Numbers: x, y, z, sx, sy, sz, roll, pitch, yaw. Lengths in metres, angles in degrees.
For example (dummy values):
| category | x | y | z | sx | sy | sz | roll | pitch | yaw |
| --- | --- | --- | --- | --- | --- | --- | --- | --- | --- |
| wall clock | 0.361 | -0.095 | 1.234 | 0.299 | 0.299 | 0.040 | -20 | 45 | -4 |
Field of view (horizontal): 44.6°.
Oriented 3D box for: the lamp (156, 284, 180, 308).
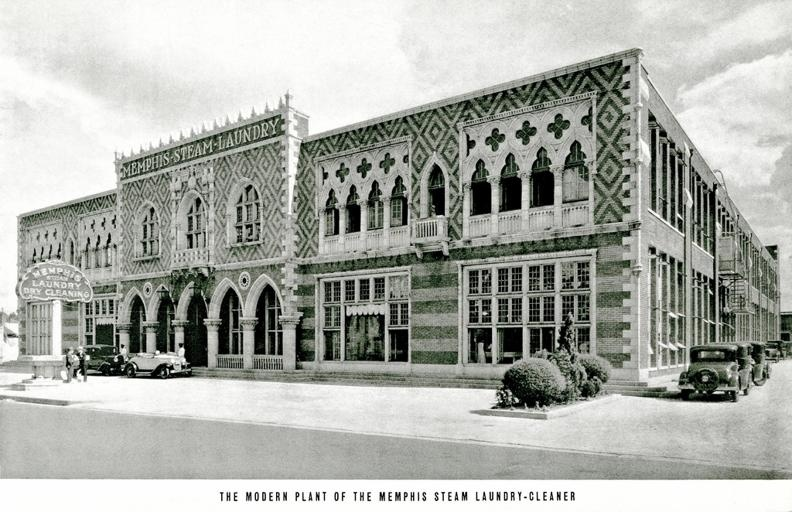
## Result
| category | x | y | z | sx | sy | sz | roll | pitch | yaw |
| --- | --- | --- | --- | --- | --- | --- | --- | --- | --- |
| lamp | -13.809 | 2.490 | 58.725 | 1.198 | 1.420 | 0.358 | 1 | 10 | 28 |

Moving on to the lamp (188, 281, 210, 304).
| category | x | y | z | sx | sy | sz | roll | pitch | yaw |
| --- | --- | --- | --- | --- | --- | --- | --- | --- | --- |
| lamp | -11.624 | 2.104 | 56.878 | 1.227 | 1.153 | 0.875 | -7 | -15 | 34 |

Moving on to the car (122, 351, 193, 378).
| category | x | y | z | sx | sy | sz | roll | pitch | yaw |
| --- | --- | --- | --- | --- | --- | --- | --- | --- | --- |
| car | -13.611 | 6.210 | 54.791 | 2.980 | 0.992 | 1.598 | 0 | -7 | 24 |

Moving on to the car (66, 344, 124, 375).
| category | x | y | z | sx | sy | sz | roll | pitch | yaw |
| --- | --- | --- | --- | --- | --- | --- | --- | --- | --- |
| car | -17.294 | 6.195 | 57.470 | 3.229 | 1.436 | 1.901 | -5 | -6 | 31 |
